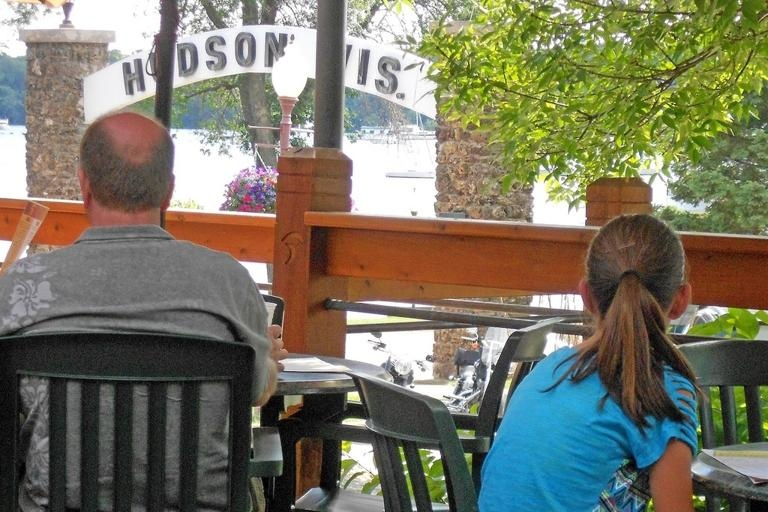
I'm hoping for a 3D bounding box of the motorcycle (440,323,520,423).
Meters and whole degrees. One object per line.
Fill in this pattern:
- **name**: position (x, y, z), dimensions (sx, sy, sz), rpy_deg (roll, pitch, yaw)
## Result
- **motorcycle**: position (1.031, 1.273, 11.414), dimensions (1.148, 0.833, 1.502), rpy_deg (6, 6, 21)
